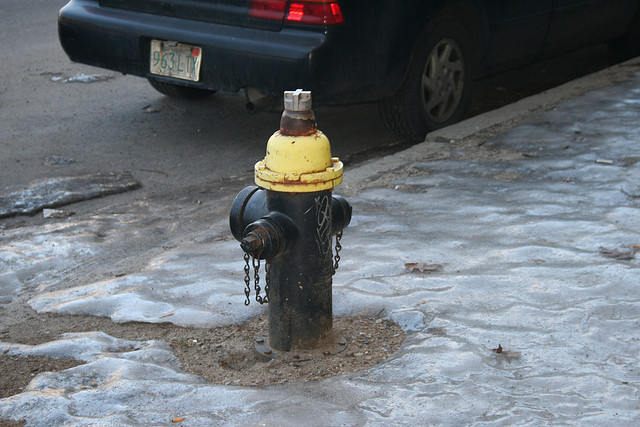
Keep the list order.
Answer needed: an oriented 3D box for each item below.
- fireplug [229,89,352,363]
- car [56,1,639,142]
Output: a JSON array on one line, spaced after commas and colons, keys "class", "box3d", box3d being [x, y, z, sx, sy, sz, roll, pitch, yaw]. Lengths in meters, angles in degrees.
[{"class": "fireplug", "box3d": [-0.193, 0.113, 5.784, 0.798, 1.734, 0.839, 1, 30, -1]}, {"class": "car", "box3d": [0.434, -1.494, 8.656, 4.947, 1.397, 1.868, -7, 28, -18]}]
